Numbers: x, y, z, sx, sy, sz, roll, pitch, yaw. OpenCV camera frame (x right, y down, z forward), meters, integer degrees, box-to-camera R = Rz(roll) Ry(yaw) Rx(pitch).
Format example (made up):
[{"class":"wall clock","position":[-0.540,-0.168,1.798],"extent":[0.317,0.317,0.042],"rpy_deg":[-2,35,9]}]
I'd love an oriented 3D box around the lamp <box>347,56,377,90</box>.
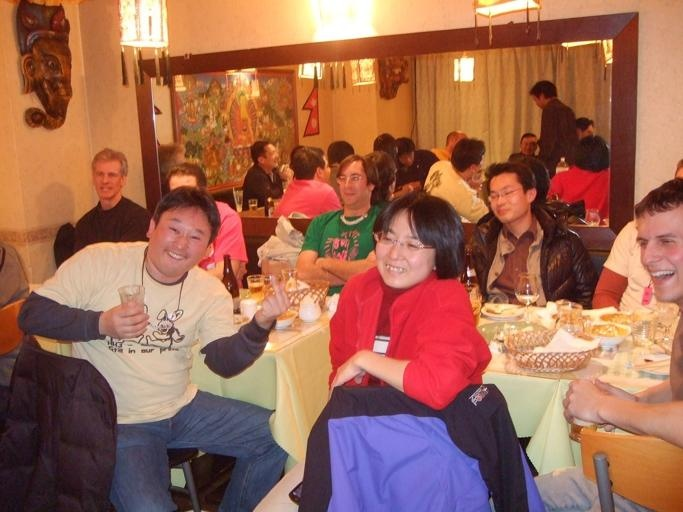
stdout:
[{"class":"lamp","position":[0.158,-1.330,3.938],"extent":[0.207,0.227,0.160],"rpy_deg":[8,22,23]}]

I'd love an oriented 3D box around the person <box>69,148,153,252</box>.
[{"class":"person","position":[-1.743,-0.328,4.009],"extent":[0.523,0.858,0.475],"rpy_deg":[-1,0,8]}]

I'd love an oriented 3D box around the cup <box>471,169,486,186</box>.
[{"class":"cup","position":[0.945,-0.543,3.769],"extent":[0.079,0.103,0.077],"rpy_deg":[10,0,0]}]

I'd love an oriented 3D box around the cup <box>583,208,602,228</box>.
[{"class":"cup","position":[1.649,-0.249,3.589],"extent":[0.088,0.125,0.101],"rpy_deg":[0,17,15]}]

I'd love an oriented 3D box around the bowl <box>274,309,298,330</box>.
[{"class":"bowl","position":[-0.268,0.307,2.574],"extent":[0.117,0.046,0.122],"rpy_deg":[-28,-3,-1]}]

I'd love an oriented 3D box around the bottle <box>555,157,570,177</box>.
[{"class":"bottle","position":[1.443,-0.586,3.547],"extent":[0.079,0.154,0.085],"rpy_deg":[3,19,-1]}]

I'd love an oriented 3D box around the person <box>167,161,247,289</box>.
[{"class":"person","position":[-0.873,-0.251,3.523],"extent":[0.403,0.954,0.490],"rpy_deg":[9,38,-8]}]

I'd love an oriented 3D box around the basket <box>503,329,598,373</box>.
[{"class":"basket","position":[0.783,0.358,2.047],"extent":[0.205,0.070,0.217],"rpy_deg":[-3,4,23]}]

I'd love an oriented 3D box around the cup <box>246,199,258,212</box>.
[{"class":"cup","position":[-0.732,-0.416,4.402],"extent":[0.075,0.096,0.080],"rpy_deg":[0,3,0]}]

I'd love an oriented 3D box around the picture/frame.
[{"class":"picture/frame","position":[-0.802,-0.983,4.200],"extent":[1.155,1.311,0.084],"rpy_deg":[1,23,3]}]

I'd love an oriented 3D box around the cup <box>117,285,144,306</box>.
[{"class":"cup","position":[-0.766,0.141,1.965],"extent":[0.069,0.061,0.066],"rpy_deg":[1,1,0]}]
